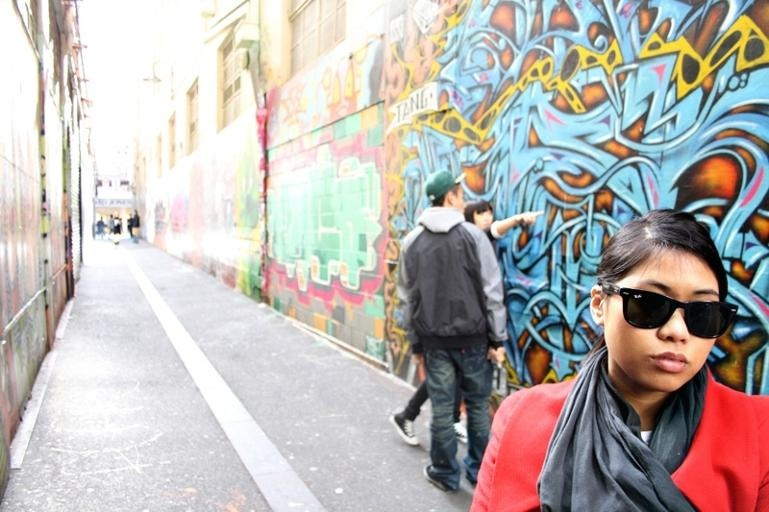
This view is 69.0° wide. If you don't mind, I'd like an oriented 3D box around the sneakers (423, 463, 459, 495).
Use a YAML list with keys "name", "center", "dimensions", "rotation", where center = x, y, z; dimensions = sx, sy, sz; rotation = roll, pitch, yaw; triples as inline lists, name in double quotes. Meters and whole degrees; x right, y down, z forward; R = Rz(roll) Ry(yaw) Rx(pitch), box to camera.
- name: "sneakers"
  center: [0.452, 1.797, 4.551]
  dimensions: [0.119, 0.142, 0.331]
  rotation: [-1, 6, -30]

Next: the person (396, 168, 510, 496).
- name: "person"
  center: [0.566, 0.625, 4.645]
  dimensions: [0.842, 2.647, 0.679]
  rotation: [-1, 2, 7]

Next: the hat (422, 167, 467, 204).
- name: "hat"
  center: [0.507, -0.627, 4.704]
  dimensions: [0.349, 0.196, 0.236]
  rotation: [-41, 20, -4]
